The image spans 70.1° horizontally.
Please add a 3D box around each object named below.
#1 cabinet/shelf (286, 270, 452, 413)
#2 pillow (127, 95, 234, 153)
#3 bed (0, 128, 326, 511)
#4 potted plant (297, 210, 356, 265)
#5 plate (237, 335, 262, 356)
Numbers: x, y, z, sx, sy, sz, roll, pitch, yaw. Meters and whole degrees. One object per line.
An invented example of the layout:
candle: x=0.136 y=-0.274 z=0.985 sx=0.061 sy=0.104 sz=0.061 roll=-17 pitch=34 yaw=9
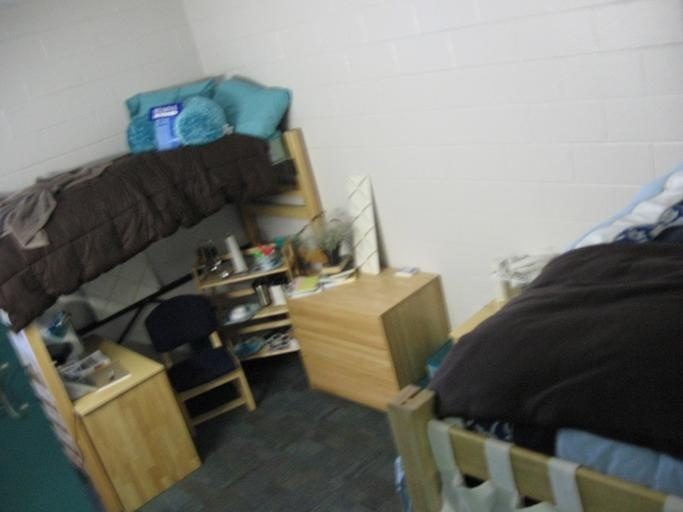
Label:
cabinet/shelf: x=0.149 y=0.514 z=3.569 sx=1.088 sy=0.794 sz=0.708 roll=-2 pitch=26 yaw=45
pillow: x=-1.104 y=-0.846 z=3.326 sx=0.628 sy=0.364 sz=0.185 roll=-11 pitch=-23 yaw=-2
bed: x=-1.024 y=0.348 z=2.922 sx=1.888 sy=1.721 sz=0.701 roll=-30 pitch=-16 yaw=-18
potted plant: x=-0.113 y=-0.101 z=3.567 sx=0.459 sy=0.421 sz=0.310 roll=-8 pitch=20 yaw=7
plate: x=-0.725 y=0.707 z=3.802 sx=0.168 sy=0.039 sz=0.128 roll=-21 pitch=36 yaw=13
